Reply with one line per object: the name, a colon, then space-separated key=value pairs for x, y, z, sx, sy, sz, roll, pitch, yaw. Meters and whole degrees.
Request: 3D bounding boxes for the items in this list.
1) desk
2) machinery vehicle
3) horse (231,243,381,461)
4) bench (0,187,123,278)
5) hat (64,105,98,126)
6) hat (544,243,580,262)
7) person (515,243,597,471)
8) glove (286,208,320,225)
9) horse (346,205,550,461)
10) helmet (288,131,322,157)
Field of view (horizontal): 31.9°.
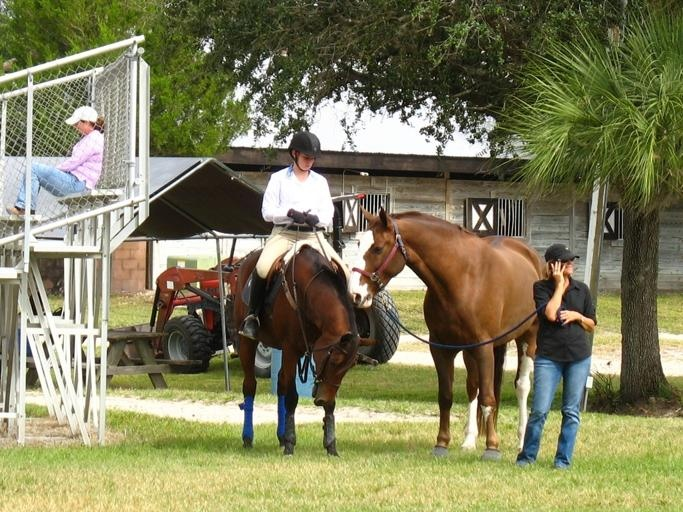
desk: x=-3.808 y=1.774 z=21.435 sx=0.997 sy=0.769 sz=1.067 roll=0 pitch=2 yaw=-30
machinery vehicle: x=-1.841 y=1.270 z=22.895 sx=5.788 sy=2.747 sz=2.350 roll=1 pitch=-2 yaw=23
horse: x=-0.612 y=1.234 z=15.855 sx=0.909 sy=2.724 sz=2.233 roll=1 pitch=-2 yaw=-32
bench: x=-3.662 y=-0.304 z=16.378 sx=1.268 sy=0.724 sz=1.018 roll=-4 pitch=-1 yaw=-2
hat: x=-3.554 y=-1.903 z=16.341 sx=0.325 sy=0.211 sz=0.259 roll=0 pitch=0 yaw=-8
hat: x=2.720 y=-0.043 z=15.132 sx=0.320 sy=0.194 sz=0.230 roll=-2 pitch=3 yaw=20
person: x=2.731 y=1.253 z=15.158 sx=0.922 sy=2.804 sz=0.375 roll=0 pitch=-2 yaw=10
glove: x=-0.526 y=-0.500 z=15.941 sx=0.317 sy=0.146 sz=0.204 roll=17 pitch=27 yaw=4
horse: x=1.723 y=1.049 z=16.446 sx=1.075 sy=3.388 sz=4.210 roll=2 pitch=-1 yaw=41
helmet: x=-0.513 y=-1.485 z=16.043 sx=0.463 sy=0.339 sz=0.279 roll=0 pitch=-2 yaw=18
